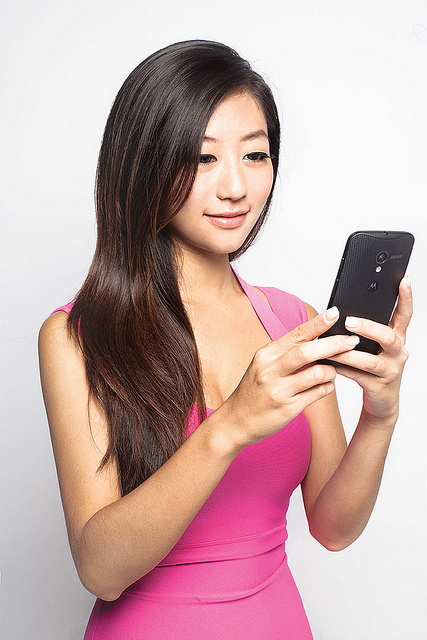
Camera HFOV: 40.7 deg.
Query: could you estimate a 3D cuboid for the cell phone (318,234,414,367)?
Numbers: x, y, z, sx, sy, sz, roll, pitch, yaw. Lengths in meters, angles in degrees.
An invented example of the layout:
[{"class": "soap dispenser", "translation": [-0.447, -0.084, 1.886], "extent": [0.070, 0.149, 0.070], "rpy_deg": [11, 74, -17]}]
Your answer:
[{"class": "cell phone", "translation": [0.231, -0.054, 0.840], "extent": [0.036, 0.159, 0.197], "rpy_deg": [24, 30, 37]}]
